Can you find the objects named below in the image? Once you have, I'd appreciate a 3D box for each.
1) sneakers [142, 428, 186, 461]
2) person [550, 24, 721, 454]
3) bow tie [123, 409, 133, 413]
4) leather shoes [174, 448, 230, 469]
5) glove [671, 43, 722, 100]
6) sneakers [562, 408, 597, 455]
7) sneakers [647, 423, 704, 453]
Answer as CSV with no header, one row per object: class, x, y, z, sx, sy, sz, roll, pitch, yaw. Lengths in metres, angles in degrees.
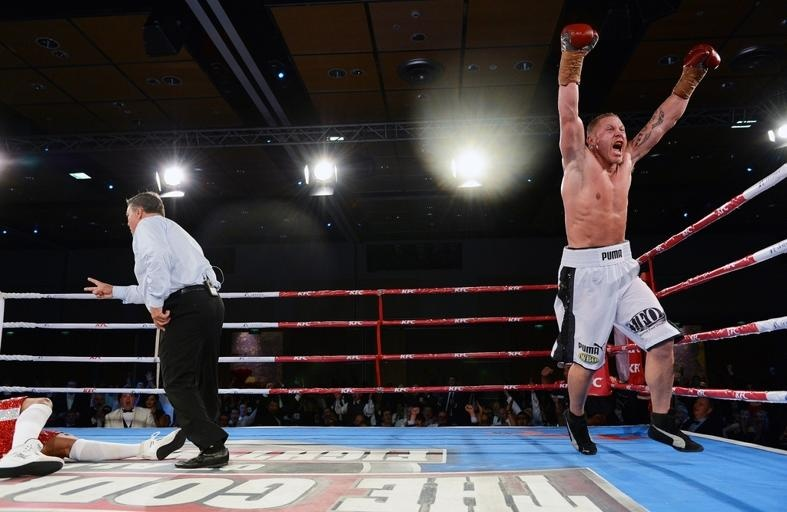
sneakers,-1.615,1.243,3.732,0.077,0.142,0.216,-35,32,-31
person,1.590,-0.107,3.745,0.967,2.824,1.011,0,-15,-5
bow tie,-3.271,1.875,6.622,0.062,0.013,0.063,-2,-4,41
leather shoes,-1.214,1.298,3.491,0.355,0.120,0.121,3,-23,-8
glove,2.214,-1.351,3.894,0.244,0.117,0.365,-13,-34,32
sneakers,1.285,1.218,3.754,0.144,0.354,0.149,-9,-22,-7
sneakers,1.837,1.190,3.561,0.289,0.186,0.230,-6,-14,16
